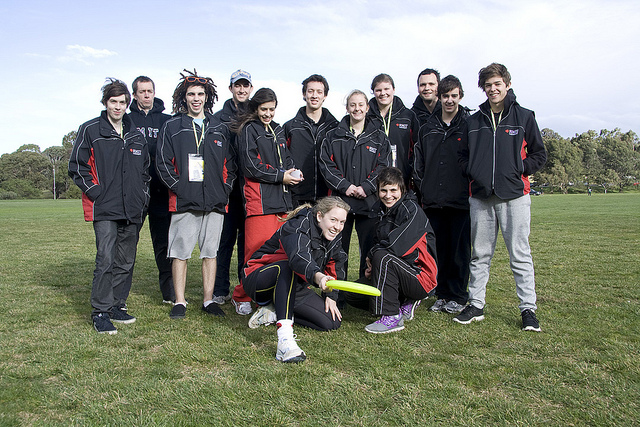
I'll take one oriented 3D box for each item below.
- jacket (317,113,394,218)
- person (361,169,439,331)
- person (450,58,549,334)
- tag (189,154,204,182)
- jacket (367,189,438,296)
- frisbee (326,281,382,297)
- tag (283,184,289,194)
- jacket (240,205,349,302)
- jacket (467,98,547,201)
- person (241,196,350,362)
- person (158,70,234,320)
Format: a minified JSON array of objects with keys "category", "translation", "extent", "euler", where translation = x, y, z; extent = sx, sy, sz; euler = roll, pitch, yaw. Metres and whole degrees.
[{"category":"jacket","translation":[0.519,-0.695,6.168],"extent":[1.039,1.528,0.552],"euler":[-1,5,8]},{"category":"person","translation":[1.024,0.459,5.674],"extent":[1.117,2.110,0.599],"euler":[-5,6,-37]},{"category":"person","translation":[2.454,-0.263,5.555],"extent":[0.958,3.445,0.707],"euler":[1,5,27]},{"category":"tag","translation":[-1.751,-0.657,5.915],"extent":[0.314,0.416,0.039],"euler":[3,3,25]},{"category":"jacket","translation":[1.169,0.416,5.811],"extent":[0.922,1.450,0.732],"euler":[0,5,12]},{"category":"frisbee","translation":[0.403,0.817,4.548],"extent":[0.367,0.038,0.348],"euler":[9,-4,-28]},{"category":"tag","translation":[-0.511,-0.359,6.111],"extent":[0.027,0.104,0.112],"euler":[1,-2,33]},{"category":"jacket","translation":[-0.357,0.507,5.613],"extent":[1.366,1.303,0.975],"euler":[13,-9,22]},{"category":"jacket","translation":[2.542,-0.872,5.637],"extent":[0.983,1.393,0.378],"euler":[0,5,19]},{"category":"person","translation":[-0.260,0.700,5.117],"extent":[1.307,1.770,1.141],"euler":[-2,5,-5]},{"category":"person","translation":[-1.793,-0.309,6.035],"extent":[1.042,3.524,0.703],"euler":[-3,5,-15]}]
